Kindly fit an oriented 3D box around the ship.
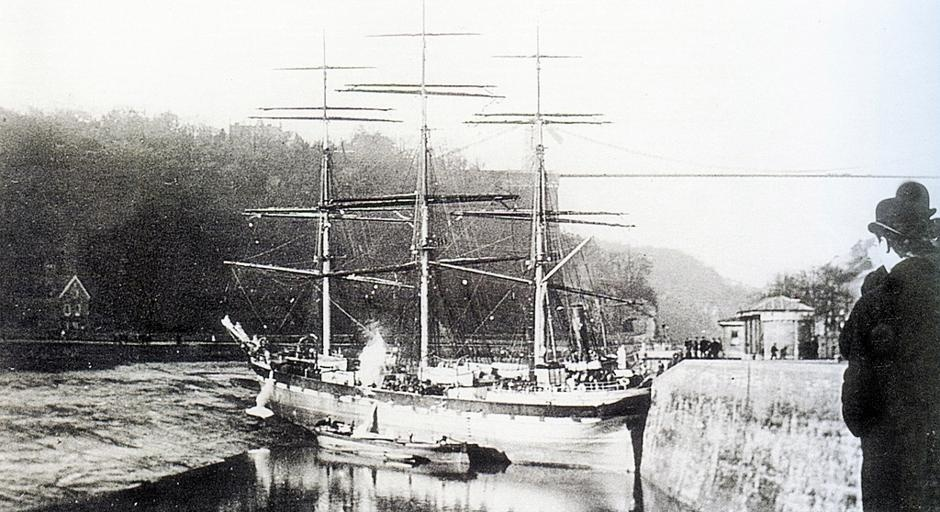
[{"bbox_3d":[-0.638,0.627,18.827,6.813,6.520,4.575,0,-5,11],"label":"ship"}]
